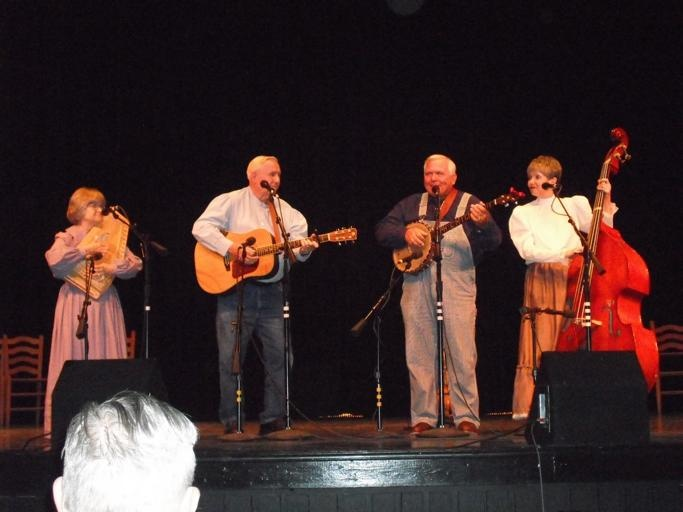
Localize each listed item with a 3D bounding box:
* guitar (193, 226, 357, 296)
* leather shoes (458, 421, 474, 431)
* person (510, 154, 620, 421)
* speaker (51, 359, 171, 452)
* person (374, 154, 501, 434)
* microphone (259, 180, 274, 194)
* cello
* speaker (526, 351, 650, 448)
[{"bbox_3d":[-0.663,-0.002,8.215,1.230,0.524,0.290,-6,-15,13],"label":"guitar"},{"bbox_3d":[1.020,1.390,8.009,0.140,0.100,0.199,-3,-15,3],"label":"leather shoes"},{"bbox_3d":[1.943,0.098,8.629,0.830,0.668,2.138,-4,-54,13],"label":"person"},{"bbox_3d":[-1.731,1.104,7.670,0.974,0.871,0.671,1,-10,-10],"label":"speaker"},{"bbox_3d":[0.838,0.306,8.297,0.937,2.372,0.829,2,-15,-14],"label":"person"},{"bbox_3d":[-0.627,-0.593,8.257,0.058,0.067,0.141,30,-13,11],"label":"microphone"},{"bbox_3d":[2.072,0.009,7.924,0.731,2.214,0.649,-6,-15,15],"label":"cello"},{"bbox_3d":[1.880,1.031,7.611,0.866,0.740,0.703,0,-4,-1],"label":"speaker"}]
